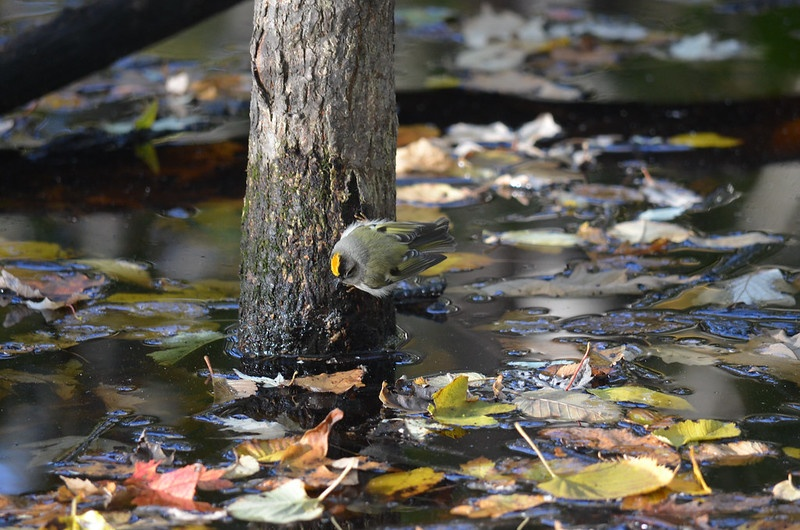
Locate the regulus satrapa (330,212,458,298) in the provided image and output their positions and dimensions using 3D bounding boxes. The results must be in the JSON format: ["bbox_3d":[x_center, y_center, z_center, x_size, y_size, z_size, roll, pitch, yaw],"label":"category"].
[{"bbox_3d":[-0.136,-0.033,4.090,0.708,0.237,0.356,-4,15,-6],"label":"regulus satrapa"}]
